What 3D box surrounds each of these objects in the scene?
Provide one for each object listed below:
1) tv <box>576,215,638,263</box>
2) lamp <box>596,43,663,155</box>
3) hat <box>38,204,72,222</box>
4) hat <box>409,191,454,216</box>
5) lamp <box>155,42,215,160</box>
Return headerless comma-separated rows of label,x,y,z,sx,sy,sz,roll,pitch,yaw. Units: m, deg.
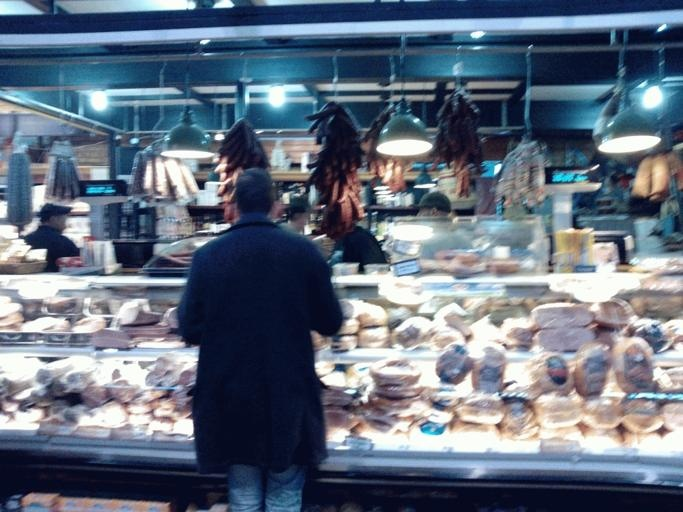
tv,1.979,-0.128,5.325,0.557,0.276,0.260,5,23,21
lamp,1.808,-0.958,4.596,0.404,0.553,0.969,-1,1,19
hat,-2.390,-0.365,5.991,0.185,0.082,0.196,-1,8,11
hat,0.633,-0.399,5.405,0.287,0.194,0.194,7,0,26
lamp,-1.097,-0.953,5.036,0.349,0.533,0.315,-2,2,-3
